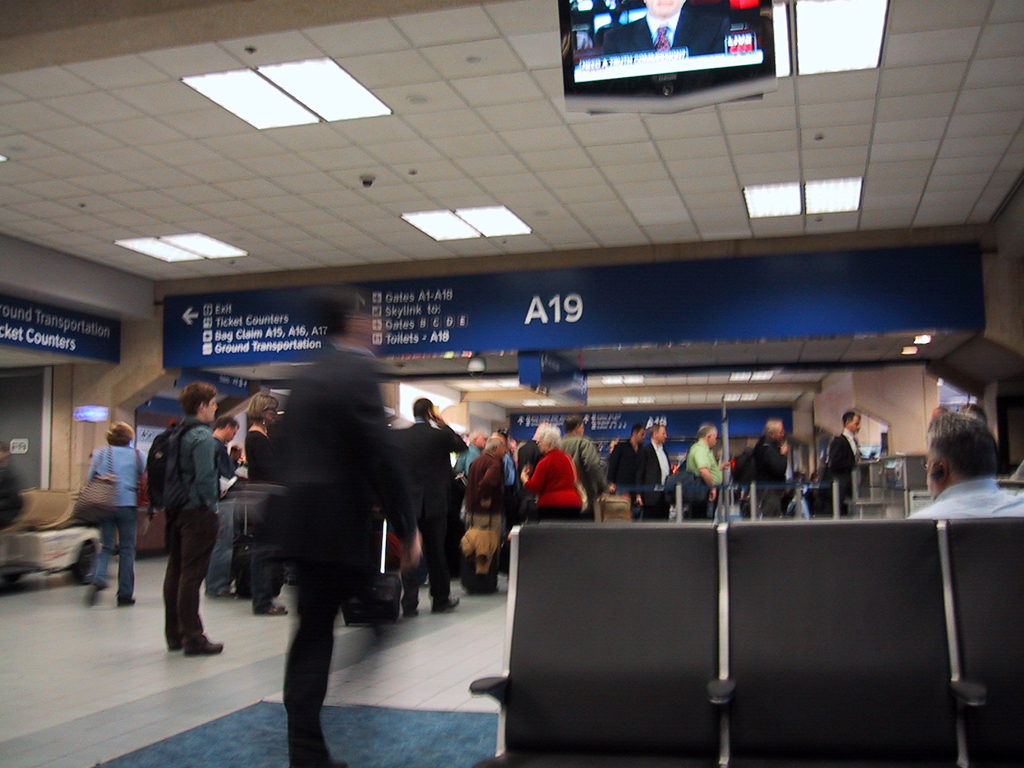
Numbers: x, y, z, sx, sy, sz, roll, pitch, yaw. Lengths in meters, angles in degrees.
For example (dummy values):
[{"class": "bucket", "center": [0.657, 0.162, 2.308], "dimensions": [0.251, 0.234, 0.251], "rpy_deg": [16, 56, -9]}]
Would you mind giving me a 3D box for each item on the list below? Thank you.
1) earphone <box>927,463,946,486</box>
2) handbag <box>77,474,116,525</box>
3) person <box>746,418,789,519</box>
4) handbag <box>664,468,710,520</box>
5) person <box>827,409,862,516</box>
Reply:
[{"class": "earphone", "center": [1.542, 0.329, 2.955], "dimensions": [0.052, 0.065, 0.071], "rpy_deg": [15, 6, 19]}, {"class": "handbag", "center": [-4.379, 1.209, 8.585], "dimensions": [0.324, 0.493, 1.131], "rpy_deg": [3, -7, -28]}, {"class": "person", "center": [3.038, 0.968, 9.625], "dimensions": [0.447, 1.129, 1.340], "rpy_deg": [-2, -6, 16]}, {"class": "handbag", "center": [2.127, 1.346, 9.828], "dimensions": [0.333, 0.587, 0.634], "rpy_deg": [2, 0, -24]}, {"class": "person", "center": [3.856, 0.913, 9.500], "dimensions": [0.348, 1.201, 0.787], "rpy_deg": [-2, -6, 21]}]
